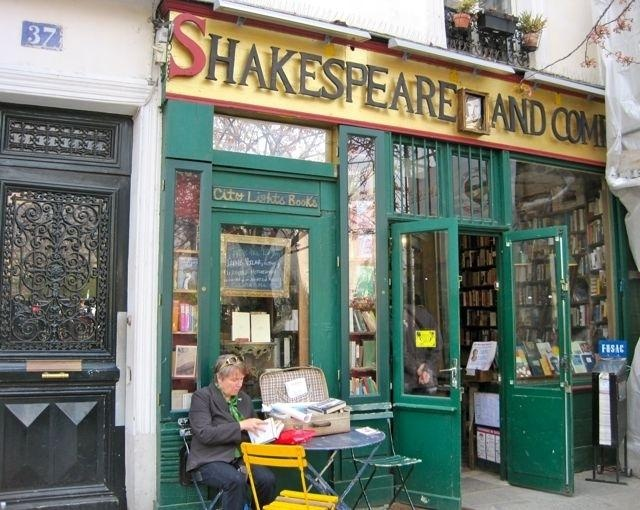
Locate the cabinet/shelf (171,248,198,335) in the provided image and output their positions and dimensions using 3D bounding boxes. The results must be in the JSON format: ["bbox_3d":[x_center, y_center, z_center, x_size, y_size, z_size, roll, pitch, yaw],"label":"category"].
[{"bbox_3d":[-1.198,0.318,6.035,0.186,0.780,0.174,2,-2,-36],"label":"cabinet/shelf"}]

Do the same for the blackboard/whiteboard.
[{"bbox_3d":[-0.599,0.108,6.387,0.679,0.585,0.060,1,-9,-25],"label":"blackboard/whiteboard"}]

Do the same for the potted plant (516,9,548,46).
[{"bbox_3d":[2.415,-2.654,7.996,0.358,0.501,0.405,0,-8,4],"label":"potted plant"}]

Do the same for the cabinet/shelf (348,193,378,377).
[{"bbox_3d":[0.414,0.294,6.784,0.216,1.685,0.314,4,0,-21],"label":"cabinet/shelf"}]
